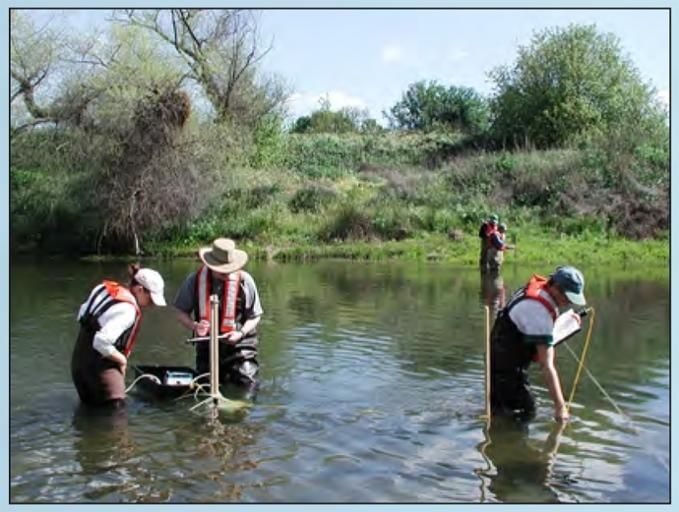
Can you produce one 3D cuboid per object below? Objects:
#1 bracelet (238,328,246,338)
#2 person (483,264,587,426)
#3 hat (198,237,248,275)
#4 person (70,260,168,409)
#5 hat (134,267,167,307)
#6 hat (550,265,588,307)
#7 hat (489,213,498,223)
[{"bbox_3d":[-1.543,1.223,10.924,0.079,0.118,0.036,20,14,41],"label":"bracelet"},{"bbox_3d":[3.164,1.508,10.859,0.904,1.298,1.977,4,-33,9],"label":"person"},{"bbox_3d":[-1.920,-0.024,10.859,0.680,0.269,0.654,23,9,24],"label":"hat"},{"bbox_3d":[-3.307,1.258,10.036,1.357,2.088,0.625,-1,12,-6],"label":"person"},{"bbox_3d":[-2.772,0.501,10.034,0.398,0.598,0.466,-4,12,-18],"label":"hat"},{"bbox_3d":[3.314,0.371,9.671,0.422,0.329,0.646,3,32,-37],"label":"hat"},{"bbox_3d":[4.448,-1.041,19.496,0.216,0.276,0.504,2,12,9],"label":"hat"}]
